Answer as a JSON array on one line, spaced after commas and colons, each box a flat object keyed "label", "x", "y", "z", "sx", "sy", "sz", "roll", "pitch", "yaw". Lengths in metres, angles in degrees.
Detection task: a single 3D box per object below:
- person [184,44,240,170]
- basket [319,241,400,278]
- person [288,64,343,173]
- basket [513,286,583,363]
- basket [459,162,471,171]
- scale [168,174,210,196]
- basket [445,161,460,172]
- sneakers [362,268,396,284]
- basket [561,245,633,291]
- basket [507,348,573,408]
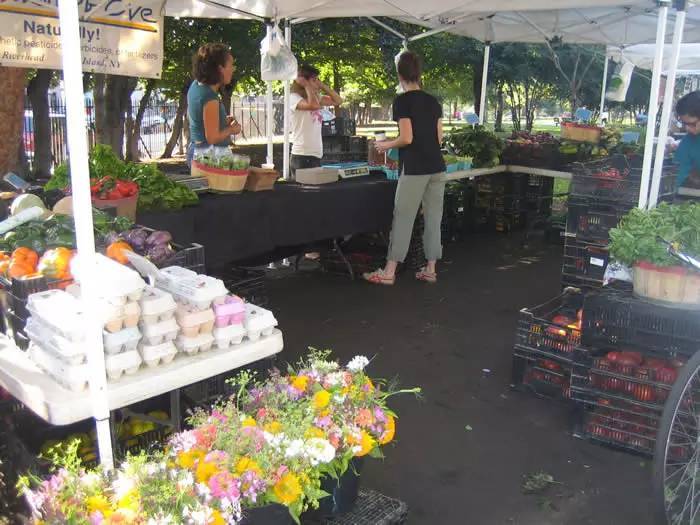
[{"label": "person", "x": -1.377, "y": -1.534, "z": 5.485, "sx": 0.510, "sy": 1.188, "sz": 0.440, "roll": -5, "pitch": 18, "yaw": -18}, {"label": "basket", "x": -0.030, "y": -0.138, "z": 7.291, "sx": 0.721, "sy": 0.179, "sz": 0.495, "roll": 27, "pitch": 41, "yaw": 32}, {"label": "person", "x": -0.521, "y": -1.839, "z": 7.256, "sx": 0.582, "sy": 1.422, "sz": 1.240, "roll": 0, "pitch": 18, "yaw": -2}, {"label": "basket", "x": 1.706, "y": 0.482, "z": 4.475, "sx": 0.382, "sy": 0.212, "sz": 0.649, "roll": 12, "pitch": 23, "yaw": 39}, {"label": "basket", "x": 1.721, "y": -1.435, "z": 8.273, "sx": 0.212, "sy": 0.146, "sz": 0.120, "roll": -6, "pitch": 7, "yaw": -42}, {"label": "scale", "x": -1.499, "y": -0.753, "z": 5.225, "sx": 0.257, "sy": 0.086, "sz": 0.219, "roll": 0, "pitch": 23, "yaw": -25}, {"label": "basket", "x": 1.500, "y": -1.384, "z": 8.054, "sx": 0.238, "sy": 0.155, "sz": 0.246, "roll": 9, "pitch": 15, "yaw": 41}, {"label": "sneakers", "x": 0.349, "y": 0.181, "z": 6.886, "sx": 0.410, "sy": 0.183, "sz": 0.165, "roll": 10, "pitch": 16, "yaw": 23}, {"label": "basket", "x": 1.950, "y": 0.070, "z": 4.720, "sx": 0.415, "sy": 0.349, "sz": 0.606, "roll": -4, "pitch": 11, "yaw": -29}, {"label": "basket", "x": 1.519, "y": 0.887, "z": 4.389, "sx": 0.545, "sy": 0.396, "sz": 0.344, "roll": 15, "pitch": 21, "yaw": 42}]
